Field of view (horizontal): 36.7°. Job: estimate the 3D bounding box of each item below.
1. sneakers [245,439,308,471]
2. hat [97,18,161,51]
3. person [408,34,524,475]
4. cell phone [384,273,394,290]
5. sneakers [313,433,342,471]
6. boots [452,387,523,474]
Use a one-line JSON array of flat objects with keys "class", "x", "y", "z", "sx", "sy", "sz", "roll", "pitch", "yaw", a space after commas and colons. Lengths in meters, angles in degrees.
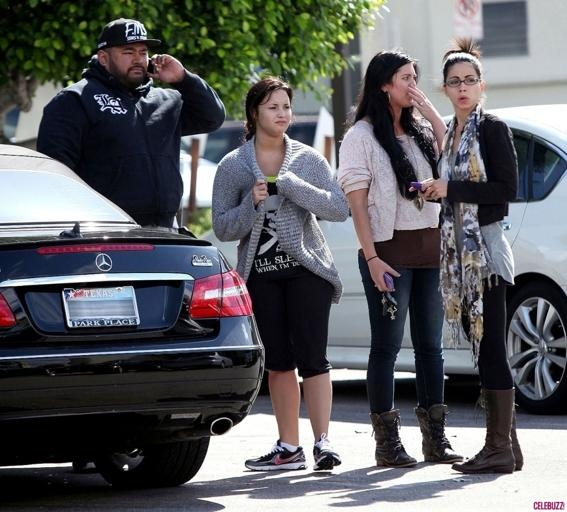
[{"class": "sneakers", "x": -0.045, "y": 1.126, "z": 4.814, "sx": 0.385, "sy": 0.174, "sz": 0.126, "roll": 1, "pitch": -6, "yaw": 3}, {"class": "hat", "x": -0.892, "y": -1.327, "z": 5.154, "sx": 0.342, "sy": 0.166, "sz": 0.208, "roll": -5, "pitch": 6, "yaw": 20}, {"class": "person", "x": 0.917, "y": -0.013, "z": 4.507, "sx": 0.495, "sy": 2.231, "sz": 0.709, "roll": 0, "pitch": 11, "yaw": 9}, {"class": "cell phone", "x": 0.512, "y": 0.138, "z": 4.588, "sx": 0.035, "sy": 0.046, "sz": 0.117, "roll": -19, "pitch": 37, "yaw": 0}, {"class": "sneakers", "x": 0.202, "y": 1.091, "z": 4.650, "sx": 0.123, "sy": 0.209, "sz": 0.190, "roll": -2, "pitch": 11, "yaw": -1}, {"class": "boots", "x": 0.954, "y": 0.905, "z": 4.425, "sx": 0.288, "sy": 0.420, "sz": 0.210, "roll": 0, "pitch": 11, "yaw": 9}]
